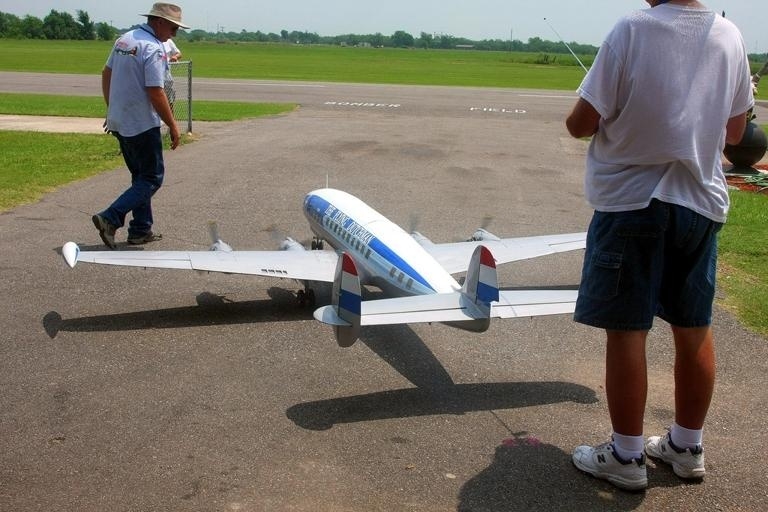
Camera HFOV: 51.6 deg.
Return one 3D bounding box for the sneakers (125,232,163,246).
[{"bbox_3d":[-4.571,-0.373,15.345,0.677,0.275,0.238,-16,34,-33],"label":"sneakers"}]
